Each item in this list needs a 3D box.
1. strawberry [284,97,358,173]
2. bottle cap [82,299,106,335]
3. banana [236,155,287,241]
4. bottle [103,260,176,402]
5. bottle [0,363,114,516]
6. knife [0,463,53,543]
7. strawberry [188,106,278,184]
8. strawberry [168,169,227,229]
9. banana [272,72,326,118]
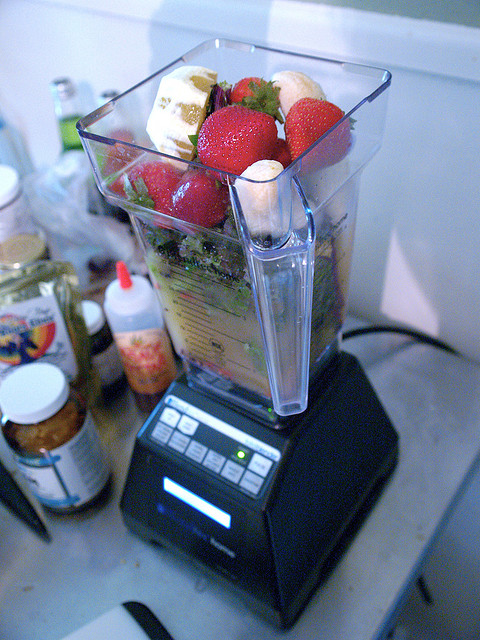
[{"bbox_3d":[0.058,-0.124,0.351,0.040,0.046,0.034,-43,47,-17],"label":"strawberry"},{"bbox_3d":[-0.187,-0.005,0.665,0.033,0.035,0.041,-15,77,-2],"label":"bottle cap"},{"bbox_3d":[0.014,-0.085,0.314,0.028,0.042,0.091,-1,42,5],"label":"banana"},{"bbox_3d":[-0.116,0.015,0.613,0.064,0.188,0.058,-3,37,3],"label":"bottle"},{"bbox_3d":[-0.192,0.129,0.536,0.083,0.181,0.100,-8,45,-6],"label":"bottle"},{"bbox_3d":[-0.260,0.211,0.631,0.033,0.004,0.143,-24,53,-32],"label":"knife"},{"bbox_3d":[-0.005,-0.108,0.352,0.051,0.033,0.058,-14,71,-6],"label":"strawberry"},{"bbox_3d":[-0.030,-0.079,0.338,0.021,0.035,0.050,-32,47,-29],"label":"strawberry"},{"bbox_3d":[0.043,-0.159,0.379,0.038,0.021,0.063,-1,43,6],"label":"banana"}]
